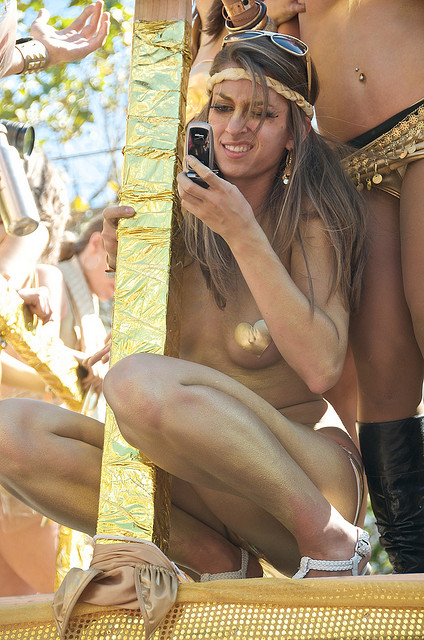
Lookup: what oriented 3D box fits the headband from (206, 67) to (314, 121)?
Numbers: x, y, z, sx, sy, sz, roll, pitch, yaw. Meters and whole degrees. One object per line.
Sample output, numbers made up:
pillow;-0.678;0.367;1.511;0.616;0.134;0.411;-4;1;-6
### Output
headband;0.106;-0.474;1.363;0.117;0.109;0.029;21;83;20
